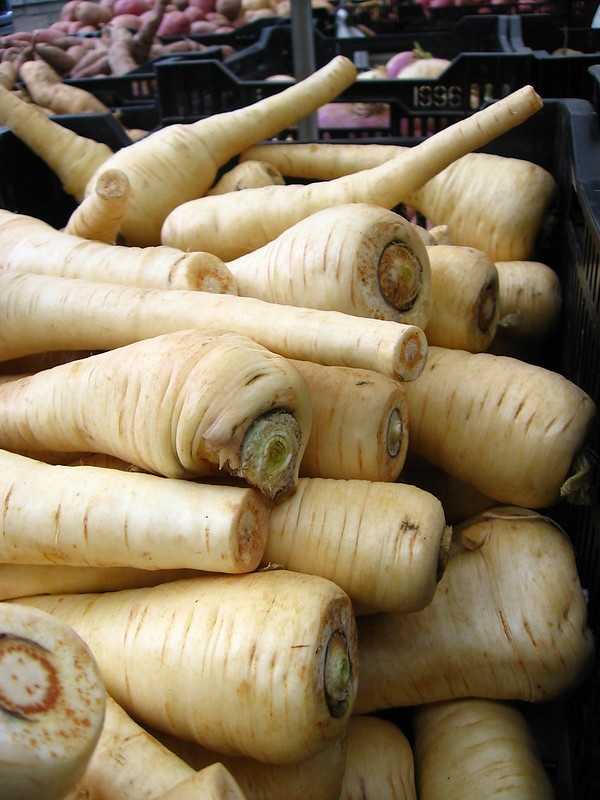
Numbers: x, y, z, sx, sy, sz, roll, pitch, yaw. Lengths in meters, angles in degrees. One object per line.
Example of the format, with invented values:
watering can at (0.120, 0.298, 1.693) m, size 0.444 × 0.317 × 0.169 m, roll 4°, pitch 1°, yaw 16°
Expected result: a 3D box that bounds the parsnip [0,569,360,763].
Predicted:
parsnip at (-0.191, 0.350, 1.073) m, size 0.516 × 0.209 × 0.230 m, roll 6°, pitch 36°, yaw 21°
